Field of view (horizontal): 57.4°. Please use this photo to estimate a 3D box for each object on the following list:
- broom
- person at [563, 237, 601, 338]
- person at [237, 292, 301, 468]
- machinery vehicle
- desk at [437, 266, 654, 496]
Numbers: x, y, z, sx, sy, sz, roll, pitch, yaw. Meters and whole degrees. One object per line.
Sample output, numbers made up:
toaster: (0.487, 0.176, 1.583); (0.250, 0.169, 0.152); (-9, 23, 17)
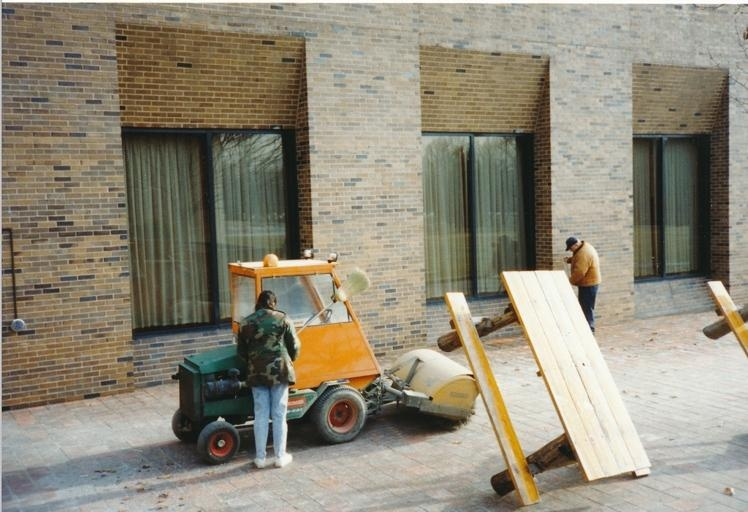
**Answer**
broom: (-0.584, 0.593, 9.960); (0.965, 0.851, 0.469); (-3, 13, -5)
person: (4.603, 0.682, 15.077); (0.791, 2.124, 0.919); (-3, 7, 19)
person: (-1.447, 1.700, 9.625); (0.845, 2.325, 0.729); (-4, -11, 3)
machinery vehicle: (-0.520, 1.253, 10.924); (5.028, 3.037, 2.351); (-5, 8, -29)
desk: (2.684, 1.653, 8.879); (2.585, 3.761, 0.994); (-4, -23, -30)
